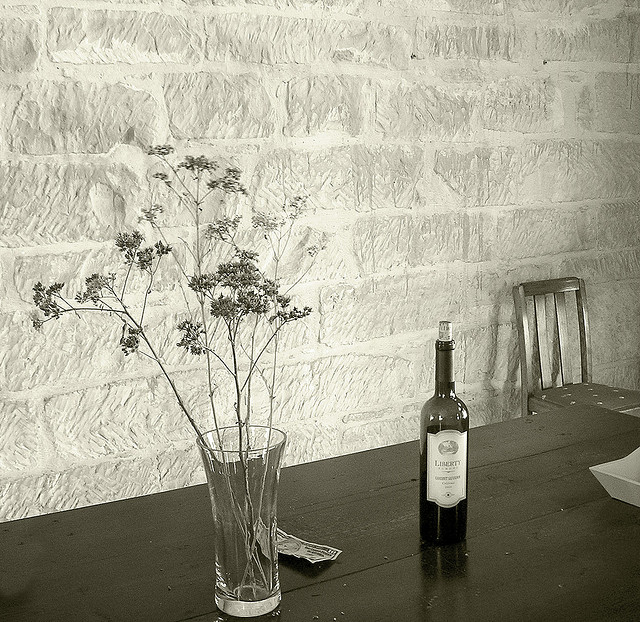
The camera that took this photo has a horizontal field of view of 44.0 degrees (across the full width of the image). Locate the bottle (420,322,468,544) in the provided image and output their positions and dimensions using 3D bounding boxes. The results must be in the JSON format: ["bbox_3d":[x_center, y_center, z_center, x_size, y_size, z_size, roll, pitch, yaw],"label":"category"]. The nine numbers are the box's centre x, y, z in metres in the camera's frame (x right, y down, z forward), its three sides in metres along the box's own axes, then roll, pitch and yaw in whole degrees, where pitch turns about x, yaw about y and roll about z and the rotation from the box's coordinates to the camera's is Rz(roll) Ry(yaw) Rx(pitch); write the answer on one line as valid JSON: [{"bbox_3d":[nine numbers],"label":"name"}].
[{"bbox_3d":[0.197,0.194,1.237,0.076,0.370,0.057,1,13,9],"label":"bottle"}]

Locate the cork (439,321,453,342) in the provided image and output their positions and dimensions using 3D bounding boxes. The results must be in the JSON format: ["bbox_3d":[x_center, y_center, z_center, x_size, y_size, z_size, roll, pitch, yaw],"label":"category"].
[{"bbox_3d":[0.188,0.030,1.186,0.020,0.031,0.019,4,13,22],"label":"cork"}]

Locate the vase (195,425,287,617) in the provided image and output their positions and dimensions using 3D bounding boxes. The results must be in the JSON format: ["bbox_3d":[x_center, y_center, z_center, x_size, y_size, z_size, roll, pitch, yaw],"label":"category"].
[{"bbox_3d":[-0.126,0.284,1.150,0.118,0.277,0.126,-1,8,-16],"label":"vase"}]
